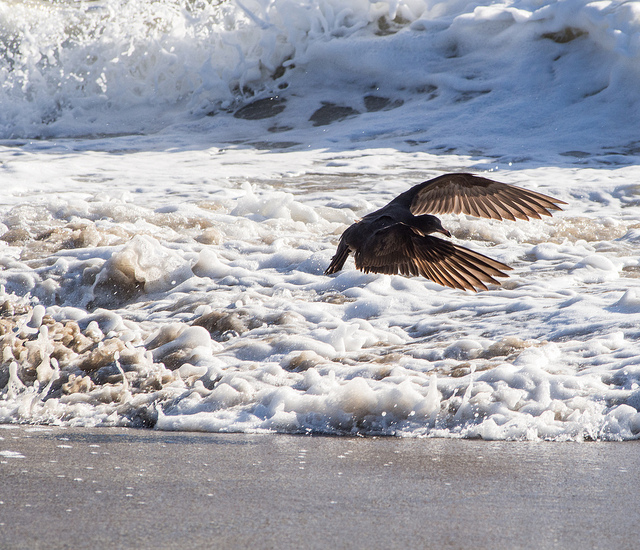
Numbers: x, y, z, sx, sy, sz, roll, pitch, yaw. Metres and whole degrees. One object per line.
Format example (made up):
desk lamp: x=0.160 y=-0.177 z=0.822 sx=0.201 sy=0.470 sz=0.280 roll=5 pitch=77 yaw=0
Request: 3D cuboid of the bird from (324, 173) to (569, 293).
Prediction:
bird: x=0.988 y=-0.343 z=9.290 sx=1.936 sy=1.523 sz=0.513 roll=5 pitch=64 yaw=-15
